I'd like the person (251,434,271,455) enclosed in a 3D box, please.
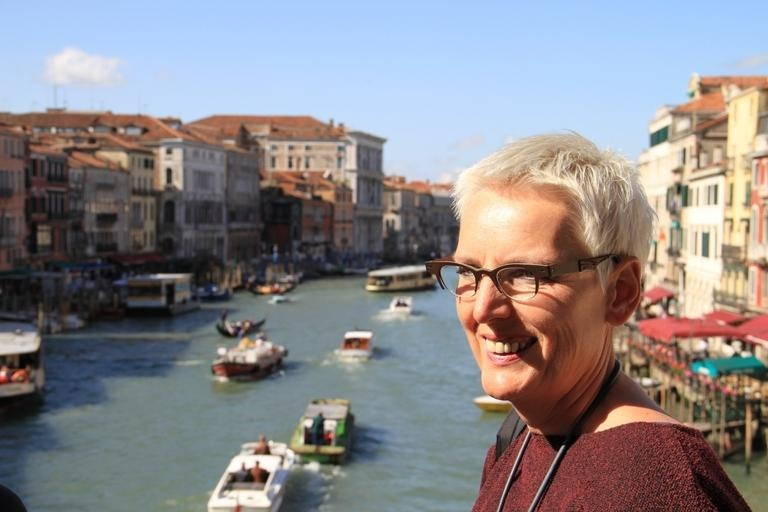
[{"bbox_3d":[-5.406,8.361,46.767,0.740,0.861,0.616,-1,14,-1],"label":"person"}]

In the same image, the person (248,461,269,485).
[{"bbox_3d":[-5.355,9.204,44.923,0.871,0.768,0.512,-3,14,-9],"label":"person"}]

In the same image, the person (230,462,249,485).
[{"bbox_3d":[-6.158,9.268,44.838,0.543,0.589,0.861,12,18,43],"label":"person"}]

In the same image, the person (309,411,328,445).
[{"bbox_3d":[-3.026,8.031,48.501,0.638,1.223,0.868,-2,14,-5],"label":"person"}]
